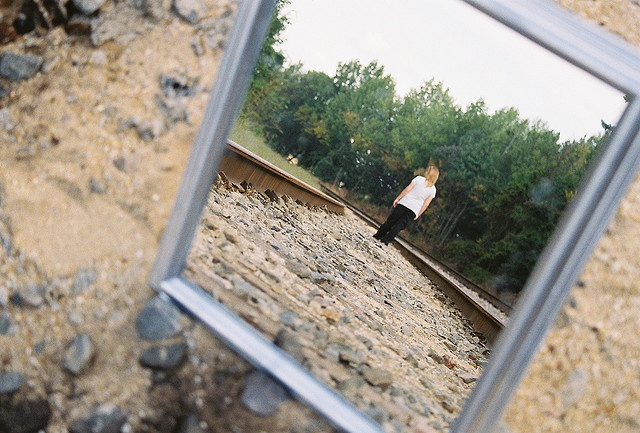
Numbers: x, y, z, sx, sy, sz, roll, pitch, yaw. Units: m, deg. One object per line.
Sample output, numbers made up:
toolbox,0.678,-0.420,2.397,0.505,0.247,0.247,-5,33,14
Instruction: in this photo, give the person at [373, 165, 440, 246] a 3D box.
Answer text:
person,1.663,-0.235,8.944,0.566,1.873,0.460,33,32,-7
